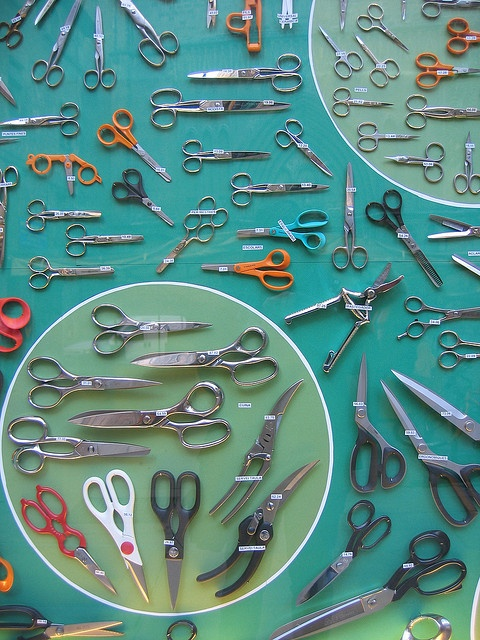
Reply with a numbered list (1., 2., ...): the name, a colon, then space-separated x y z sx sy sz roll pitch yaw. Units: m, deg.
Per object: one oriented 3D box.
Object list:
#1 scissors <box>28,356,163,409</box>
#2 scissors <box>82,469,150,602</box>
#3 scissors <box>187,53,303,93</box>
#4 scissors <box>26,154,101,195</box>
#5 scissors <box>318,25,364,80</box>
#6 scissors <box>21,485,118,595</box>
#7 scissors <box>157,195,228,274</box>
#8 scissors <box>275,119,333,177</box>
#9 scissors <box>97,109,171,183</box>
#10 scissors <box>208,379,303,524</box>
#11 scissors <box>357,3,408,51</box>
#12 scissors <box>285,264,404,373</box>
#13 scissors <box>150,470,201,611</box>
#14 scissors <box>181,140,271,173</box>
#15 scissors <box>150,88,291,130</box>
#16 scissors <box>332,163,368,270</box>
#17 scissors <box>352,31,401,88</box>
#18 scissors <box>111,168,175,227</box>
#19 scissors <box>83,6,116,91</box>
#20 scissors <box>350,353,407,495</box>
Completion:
1. scissors: -0.389 0.181 1.921 0.350 0.169 0.051 -1 -7 10
2. scissors: -0.313 0.564 1.856 0.214 0.310 0.091 15 27 33
3. scissors: 0.013 -0.670 1.883 0.294 0.142 0.025 -1 -8 3
4. scissors: -0.472 -0.379 1.904 0.168 0.123 0.014 11 6 9
5. scissors: 0.284 -0.717 1.897 0.182 0.075 0.008 58 2 5
6. scissors: -0.482 0.545 1.912 0.419 0.147 0.030 52 7 11
7. scissors: -0.119 -0.236 1.882 0.113 0.296 0.013 39 4 7
8. scissors: 0.179 -0.460 1.921 0.215 0.094 0.022 46 7 7
9. scissors: -0.300 -0.487 1.941 0.271 0.128 0.029 46 7 8
10. scissors: 0.034 0.361 1.828 0.064 0.391 0.043 27 -4 14
11. scissors: 0.387 -0.796 1.898 0.166 0.091 0.018 45 -5 1
12. scissors: 0.273 -0.005 1.905 0.192 0.388 0.080 49 7 3
13. scissors: -0.162 0.572 1.840 0.123 0.330 0.144 -8 23 -18
14. scissors: -0.035 -0.447 1.837 0.228 0.111 0.018 0 -5 2
15. scissors: -0.034 -0.582 1.905 0.412 0.164 0.032 0 -9 2
16. scissors: 0.305 -0.274 1.863 0.092 0.256 0.126 6 23 15
17. scissors: 0.377 -0.699 1.892 0.165 0.088 0.011 53 7 12
18. scissors: -0.270 -0.331 1.936 0.201 0.111 0.021 43 3 4
19. scissors: -0.379 -0.742 1.900 0.087 0.210 0.093 11 25 27
20. scissors: 0.354 0.291 1.806 0.165 0.324 0.151 15 27 34
